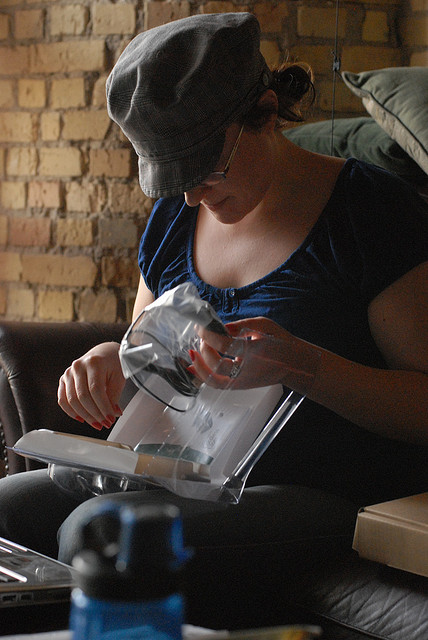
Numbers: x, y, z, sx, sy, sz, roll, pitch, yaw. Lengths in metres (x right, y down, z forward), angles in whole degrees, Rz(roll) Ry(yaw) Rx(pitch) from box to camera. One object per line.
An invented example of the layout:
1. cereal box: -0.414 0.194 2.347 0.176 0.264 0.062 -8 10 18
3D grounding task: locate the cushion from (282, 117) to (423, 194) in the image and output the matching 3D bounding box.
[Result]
1. cushion: 0.223 -0.251 0.901 0.140 0.057 0.205 16 3 -39

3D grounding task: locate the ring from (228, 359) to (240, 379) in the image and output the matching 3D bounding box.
1. ring: 0.021 0.047 0.552 0.006 0.014 0.011 12 -6 -44

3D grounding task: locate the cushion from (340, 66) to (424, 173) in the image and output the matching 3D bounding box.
1. cushion: 0.305 -0.337 0.966 0.088 0.147 0.265 -5 20 -13
